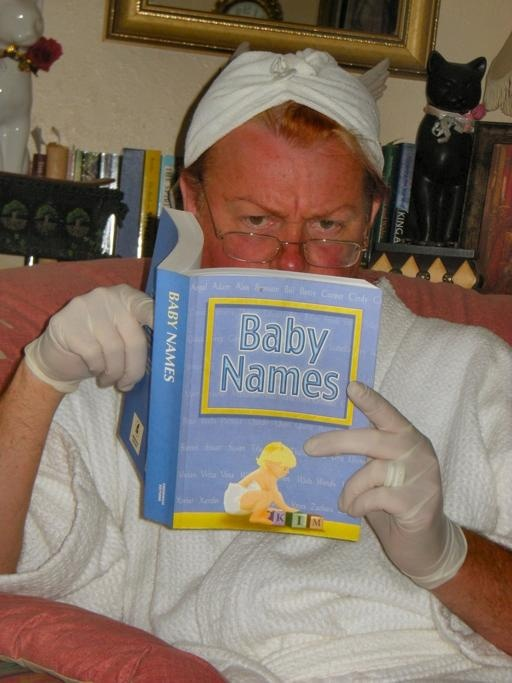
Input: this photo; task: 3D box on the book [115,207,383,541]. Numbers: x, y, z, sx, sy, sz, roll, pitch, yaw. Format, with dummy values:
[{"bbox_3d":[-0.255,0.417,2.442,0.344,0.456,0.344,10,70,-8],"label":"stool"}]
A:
[{"bbox_3d":[0.018,0.080,0.770,0.344,0.337,0.272,12,-7,-38],"label":"book"}]
